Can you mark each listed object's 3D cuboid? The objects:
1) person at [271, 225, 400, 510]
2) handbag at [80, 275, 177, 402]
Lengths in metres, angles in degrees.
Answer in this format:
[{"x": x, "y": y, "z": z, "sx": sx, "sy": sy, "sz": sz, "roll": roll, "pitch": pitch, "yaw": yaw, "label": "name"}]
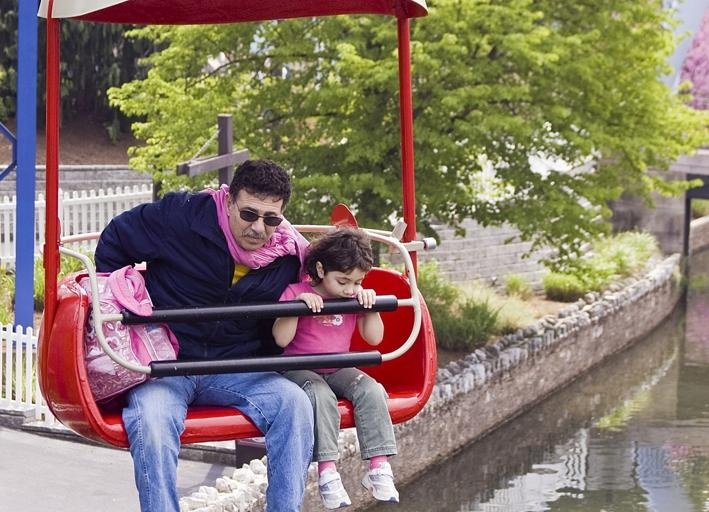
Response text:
[{"x": -0.150, "y": 0.996, "z": 12.419, "sx": 1.124, "sy": 2.477, "sz": 0.581, "roll": 2, "pitch": 3, "yaw": -4, "label": "person"}, {"x": -2.037, "y": 0.771, "z": 12.217, "sx": 0.686, "sy": 1.007, "sz": 0.514, "roll": -25, "pitch": -1, "yaw": 36, "label": "handbag"}]
